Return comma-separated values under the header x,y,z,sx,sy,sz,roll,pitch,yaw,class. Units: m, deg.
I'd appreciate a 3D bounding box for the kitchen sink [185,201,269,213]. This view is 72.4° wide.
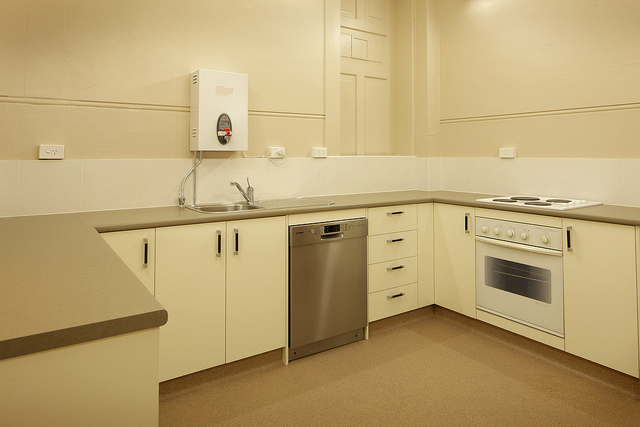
x,y,z,sx,sy,sz,roll,pitch,yaw,class
-0.771,-0.053,3.442,0.285,0.109,0.236,-5,9,-34,kitchen sink

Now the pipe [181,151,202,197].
x,y,z,sx,sy,sz,roll,pitch,yaw,class
-1.006,-0.313,3.419,0.197,0.341,0.087,-8,16,-26,pipe

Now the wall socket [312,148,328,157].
x,y,z,sx,sy,sz,roll,pitch,yaw,class
-0.009,-0.558,3.979,0.124,0.088,0.073,-2,7,-24,wall socket

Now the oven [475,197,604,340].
x,y,z,sx,sy,sz,roll,pitch,yaw,class
1.703,0.356,3.509,0.764,1.001,0.820,-14,15,-24,oven
